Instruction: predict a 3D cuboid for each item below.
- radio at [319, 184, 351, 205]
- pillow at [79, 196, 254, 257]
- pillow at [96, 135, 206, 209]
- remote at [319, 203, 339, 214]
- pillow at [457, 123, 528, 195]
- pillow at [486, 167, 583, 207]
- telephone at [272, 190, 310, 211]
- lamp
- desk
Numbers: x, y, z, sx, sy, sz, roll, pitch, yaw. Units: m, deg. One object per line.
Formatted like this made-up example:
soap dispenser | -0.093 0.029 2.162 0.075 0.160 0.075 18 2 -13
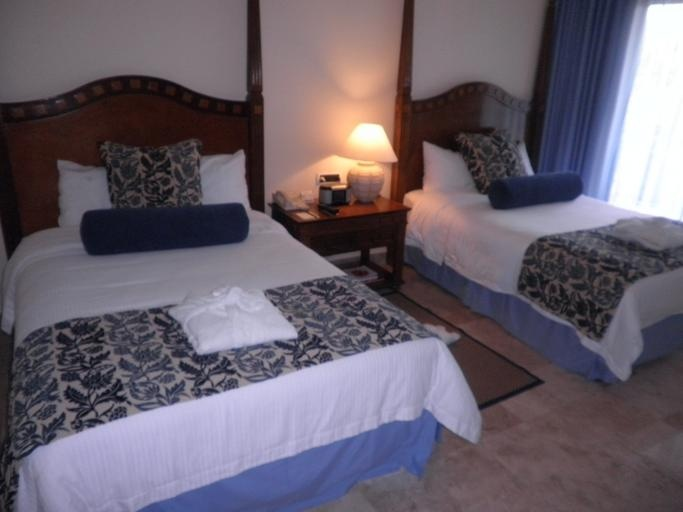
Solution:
radio | -0.048 -0.492 3.967 0.289 0.200 0.157 -12 23 -31
pillow | -1.039 -0.216 3.204 1.092 0.412 0.341 -3 10 -22
pillow | -1.212 -0.433 3.288 0.507 0.526 0.153 -7 -6 -25
remote | -0.094 -0.354 3.871 0.063 0.074 0.195 -11 21 -33
pillow | 1.276 -0.843 4.448 0.569 0.570 0.164 -21 -4 -32
pillow | 1.581 -0.612 4.141 0.988 0.335 0.307 -8 15 -32
telephone | -0.408 -0.461 3.876 0.160 0.077 0.220 -7 21 -27
lamp | 0.206 -0.796 4.213 0.545 0.680 0.551 16 25 39
desk | -0.026 -0.095 4.179 0.958 0.761 0.635 -10 25 -30
